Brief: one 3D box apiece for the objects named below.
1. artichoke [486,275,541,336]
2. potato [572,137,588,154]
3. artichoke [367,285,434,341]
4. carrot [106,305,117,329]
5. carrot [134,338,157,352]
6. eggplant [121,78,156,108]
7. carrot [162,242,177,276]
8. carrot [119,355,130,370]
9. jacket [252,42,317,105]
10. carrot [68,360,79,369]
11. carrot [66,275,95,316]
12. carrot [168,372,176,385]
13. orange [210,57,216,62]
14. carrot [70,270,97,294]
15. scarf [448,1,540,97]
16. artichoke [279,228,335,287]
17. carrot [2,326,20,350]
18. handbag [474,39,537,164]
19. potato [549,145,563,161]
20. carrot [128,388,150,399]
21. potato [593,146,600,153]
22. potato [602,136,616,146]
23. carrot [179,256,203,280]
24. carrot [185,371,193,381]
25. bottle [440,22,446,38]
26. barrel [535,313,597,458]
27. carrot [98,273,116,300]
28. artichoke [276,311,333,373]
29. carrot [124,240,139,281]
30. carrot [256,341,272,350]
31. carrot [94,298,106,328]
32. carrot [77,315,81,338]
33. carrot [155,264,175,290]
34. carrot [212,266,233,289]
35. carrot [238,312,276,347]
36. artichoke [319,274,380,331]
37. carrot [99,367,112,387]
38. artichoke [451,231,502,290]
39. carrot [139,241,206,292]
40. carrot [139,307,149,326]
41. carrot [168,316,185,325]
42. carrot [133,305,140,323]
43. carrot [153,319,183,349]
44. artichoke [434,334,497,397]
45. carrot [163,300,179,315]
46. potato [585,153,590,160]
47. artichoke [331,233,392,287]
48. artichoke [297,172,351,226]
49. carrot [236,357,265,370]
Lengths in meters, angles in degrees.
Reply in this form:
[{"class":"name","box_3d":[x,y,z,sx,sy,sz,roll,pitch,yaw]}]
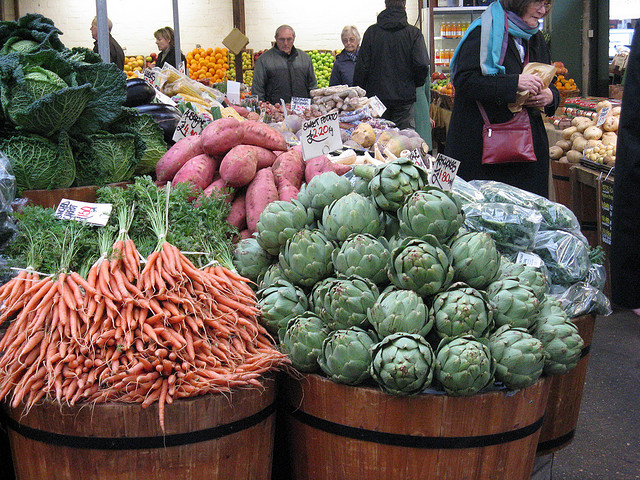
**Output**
[{"class":"artichoke","box_3d":[0.694,0.236,2.129,0.149,0.212,0.206,12,-2,2]},{"class":"potato","box_3d":[2.487,-0.917,5.449,0.075,0.149,0.114,31,-28,-2]},{"class":"artichoke","box_3d":[0.283,0.283,1.989,0.190,0.202,0.176,1,-14,-15]},{"class":"carrot","box_3d":[-0.742,0.271,2.012,0.019,0.060,0.061,-8,19,-22]},{"class":"carrot","box_3d":[-0.623,0.364,1.972,0.031,0.033,0.066,-17,24,-40]},{"class":"eggplant","box_3d":[-1.079,-0.885,3.405,0.118,0.159,0.251,1,11,41]},{"class":"carrot","box_3d":[-0.568,0.064,2.157,0.037,0.040,0.196,9,40,-34]},{"class":"carrot","box_3d":[-0.674,0.421,1.952,0.013,0.042,0.014,-12,-21,-16]},{"class":"jacket","box_3d":[-0.450,-2.163,7.528,0.824,0.835,0.450,-9,13,-18]},{"class":"carrot","box_3d":[-0.841,0.426,1.938,0.026,0.025,0.021,1,-5,-12]},{"class":"carrot","box_3d":[-0.881,0.183,2.095,0.039,0.057,0.241,-17,60,-10]},{"class":"carrot","box_3d":[-0.503,0.475,1.931,0.010,0.034,0.016,-9,-37,43]},{"class":"orange","box_3d":[-1.798,-3.043,9.538,0.061,0.066,0.077,-25,-15,-14]},{"class":"carrot","box_3d":[-0.875,0.160,2.105,0.111,0.025,0.024,38,34,31]},{"class":"scarf","box_3d":[1.245,-1.386,4.047,0.414,0.629,0.303,27,14,28]},{"class":"artichoke","box_3d":[-0.047,0.068,2.222,0.192,0.213,0.185,-26,23,-31]},{"class":"carrot","box_3d":[-1.118,0.358,2.059,0.015,0.094,0.015,31,-2,-18]},{"class":"handbag","box_3d":[1.316,-0.976,4.098,0.409,0.971,0.104,-3,-19,23]},{"class":"potato","box_3d":[2.333,-0.864,5.633,0.119,0.121,0.245,6,20,22]},{"class":"carrot","box_3d":[-0.607,0.513,1.910,0.076,0.026,0.024,-15,26,-16]},{"class":"potato","box_3d":[2.471,-0.816,5.092,0.051,0.050,0.049,-13,36,8]},{"class":"potato","box_3d":[2.665,-0.931,5.264,0.094,0.050,0.104,-23,31,16]},{"class":"carrot","box_3d":[-0.499,0.108,2.159,0.132,0.054,0.041,16,24,40]},{"class":"carrot","box_3d":[-0.447,0.464,1.942,0.039,0.013,0.012,-52,29,-21]},{"class":"bottle","box_3d":[2.453,-4.241,11.422,0.073,0.274,0.285,-3,18,-6]},{"class":"barrel","box_3d":[1.045,0.623,2.644,0.412,0.456,0.510,2,7,13]},{"class":"carrot","box_3d":[-0.776,0.168,2.069,0.037,0.029,0.141,-25,57,-2]},{"class":"artichoke","box_3d":[-0.036,0.387,2.093,0.200,0.220,0.180,-6,15,46]},{"class":"carrot","box_3d":[-0.721,0.083,2.165,0.027,0.151,0.030,-35,-27,15]},{"class":"carrot","box_3d":[-0.213,0.404,2.162,0.058,0.029,0.040,-5,19,-11]},{"class":"carrot","box_3d":[-0.780,0.258,2.024,0.019,0.019,0.084,23,53,-15]},{"class":"carrot","box_3d":[-0.855,0.295,2.016,0.010,0.056,0.012,-2,-6,-3]},{"class":"carrot","box_3d":[-0.579,0.137,2.129,0.023,0.134,0.033,-36,-23,17]},{"class":"carrot","box_3d":[-0.392,0.127,2.237,0.035,0.037,0.162,15,32,-44]},{"class":"carrot","box_3d":[-0.248,0.339,2.168,0.186,0.020,0.021,40,5,-10]},{"class":"artichoke","box_3d":[0.098,0.216,1.945,0.179,0.214,0.177,13,46,6]},{"class":"carrot","box_3d":[-0.726,0.463,1.906,0.031,0.045,0.015,-4,-23,1]},{"class":"artichoke","box_3d":[0.559,0.078,2.147,0.147,0.218,0.191,0,-1,-21]},{"class":"carrot","box_3d":[-0.575,0.099,2.134,0.151,0.057,0.206,-5,46,-31]},{"class":"carrot","box_3d":[-0.626,0.269,2.007,0.013,0.014,0.065,11,48,-21]},{"class":"carrot","box_3d":[-0.511,0.283,2.021,0.066,0.024,0.025,-19,-15,12]},{"class":"carrot","box_3d":[-0.656,0.262,2.029,0.017,0.068,0.020,1,-31,-12]},{"class":"carrot","box_3d":[-0.539,0.332,1.995,0.023,0.102,0.026,-39,-12,-12]},{"class":"artichoke","box_3d":[0.480,0.439,1.973,0.164,0.226,0.216,1,-24,1]},{"class":"carrot","box_3d":[-0.541,0.250,2.060,0.027,0.032,0.118,5,15,-43]},{"class":"potato","box_3d":[2.397,-0.751,5.106,0.029,0.055,0.045,6,28,35]},{"class":"artichoke","box_3d":[0.165,0.056,2.112,0.184,0.207,0.164,-3,9,24]},{"class":"artichoke","box_3d":[0.015,-0.197,2.433,0.197,0.239,0.181,-19,2,7]},{"class":"carrot","box_3d":[-0.246,0.446,2.056,0.108,0.033,0.030,-21,50,-11]}]
